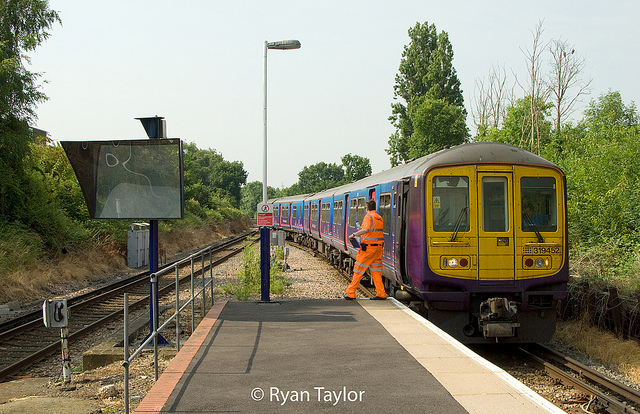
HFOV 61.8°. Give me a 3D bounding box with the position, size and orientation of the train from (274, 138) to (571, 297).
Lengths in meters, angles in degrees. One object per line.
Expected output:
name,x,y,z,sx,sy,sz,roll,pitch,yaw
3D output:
train,1.016,-0.181,24.047,3.532,4.562,24.720,1,2,-17
